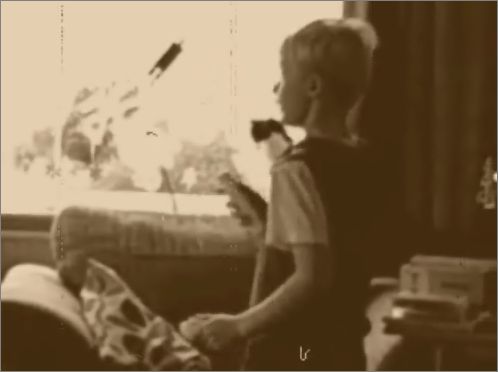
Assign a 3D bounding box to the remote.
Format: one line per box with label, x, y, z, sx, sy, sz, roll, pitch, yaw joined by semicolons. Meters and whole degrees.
remote;-0.035;0.070;2.854;0.149;0.253;0.082;-36;-10;-7
